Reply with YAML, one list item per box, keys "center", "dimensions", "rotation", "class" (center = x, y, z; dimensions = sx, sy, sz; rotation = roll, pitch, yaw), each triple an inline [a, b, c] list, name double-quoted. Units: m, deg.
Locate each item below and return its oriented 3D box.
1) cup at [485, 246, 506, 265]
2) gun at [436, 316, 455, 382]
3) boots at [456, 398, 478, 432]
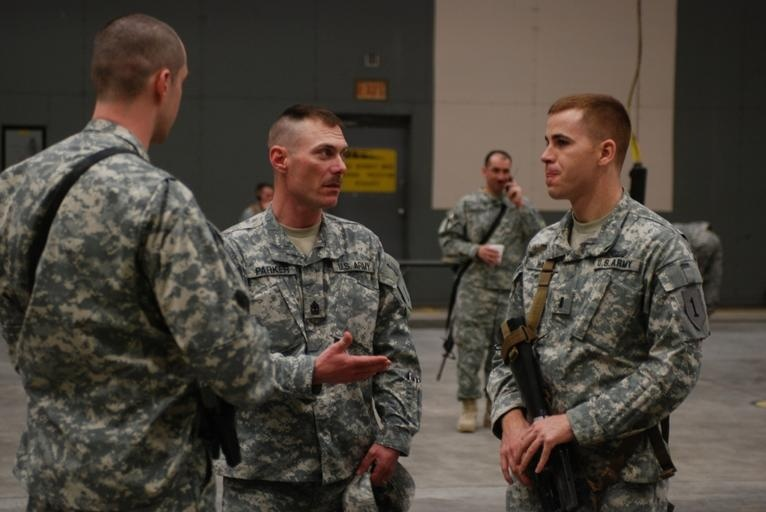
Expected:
- center: [1.066, -0.022, 10.653]
  dimensions: [0.164, 0.161, 0.159]
  rotation: [0, 0, 0]
  class: "cup"
- center: [0.723, 1.103, 13.026]
  dimensions: [0.200, 0.733, 0.278]
  rotation: [14, 17, 7]
  class: "gun"
- center: [0.775, 1.471, 10.472]
  dimensions: [0.163, 0.322, 0.493]
  rotation: [1, -2, 5]
  class: "boots"
